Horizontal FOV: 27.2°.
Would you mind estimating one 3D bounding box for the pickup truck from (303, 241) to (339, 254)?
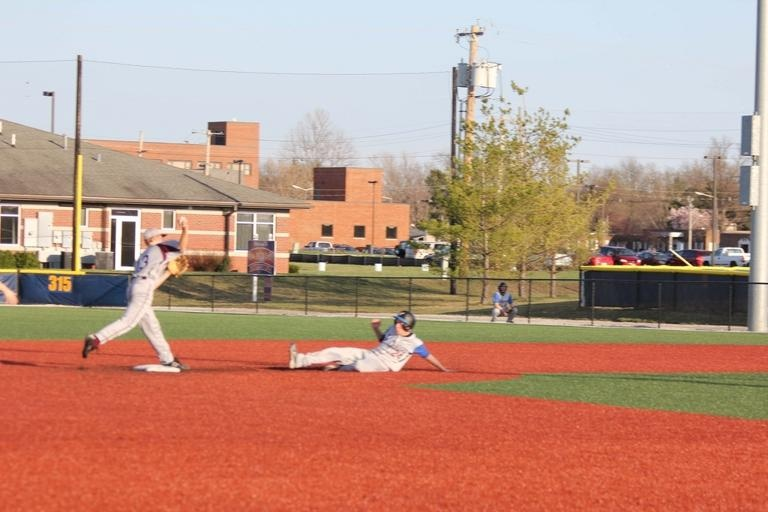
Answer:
[{"bbox_3d":[-5.277,-0.934,130.771,3.055,1.026,1.473,5,-3,-19],"label":"pickup truck"}]

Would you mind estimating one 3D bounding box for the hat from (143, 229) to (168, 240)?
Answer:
[{"bbox_3d":[-6.738,-0.643,47.433,0.839,0.301,0.493,-5,10,-20],"label":"hat"}]

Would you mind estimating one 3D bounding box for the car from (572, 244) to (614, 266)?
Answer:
[{"bbox_3d":[11.323,-0.166,85.530,1.955,0.914,2.488,0,-4,6],"label":"car"}]

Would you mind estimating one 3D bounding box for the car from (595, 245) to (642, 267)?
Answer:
[{"bbox_3d":[14.309,-0.118,96.046,1.524,0.796,2.871,1,3,-5],"label":"car"}]

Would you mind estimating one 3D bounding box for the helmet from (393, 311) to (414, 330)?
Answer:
[{"bbox_3d":[0.762,1.889,48.315,0.531,0.373,0.654,29,23,37],"label":"helmet"}]
